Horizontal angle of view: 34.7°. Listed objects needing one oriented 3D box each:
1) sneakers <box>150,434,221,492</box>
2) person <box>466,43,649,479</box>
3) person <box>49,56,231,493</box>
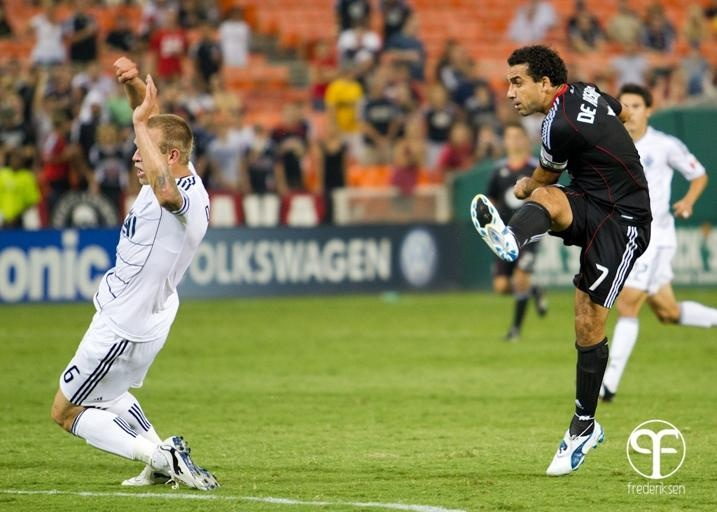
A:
[{"bbox_3d":[-1.285,1.561,8.476,0.521,0.261,0.283,40,-22,1],"label":"sneakers"},{"bbox_3d":[1.605,0.165,8.793,1.179,2.972,0.720,-8,11,-42],"label":"person"},{"bbox_3d":[-1.634,0.211,8.404,1.122,3.018,0.506,-1,8,-2],"label":"person"}]
